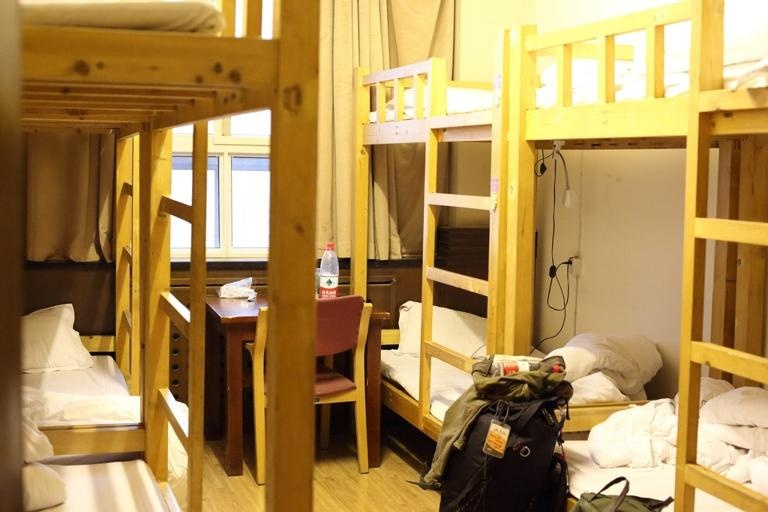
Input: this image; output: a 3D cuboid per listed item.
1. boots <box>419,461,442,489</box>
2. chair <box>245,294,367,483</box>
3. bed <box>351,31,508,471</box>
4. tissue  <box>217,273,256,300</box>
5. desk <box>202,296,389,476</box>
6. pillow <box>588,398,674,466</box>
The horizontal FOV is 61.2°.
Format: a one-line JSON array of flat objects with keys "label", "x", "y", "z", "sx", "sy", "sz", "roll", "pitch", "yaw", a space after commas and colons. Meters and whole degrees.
[{"label": "boots", "x": 0.200, "y": 0.999, "z": 2.883, "sx": 0.048, "sy": 0.151, "sz": 0.106, "roll": 0, "pitch": -9, "yaw": 14}, {"label": "chair", "x": -0.461, "y": 0.697, "z": 3.624, "sx": 0.696, "sy": 0.982, "sz": 0.721, "roll": -2, "pitch": 6, "yaw": -34}, {"label": "bed", "x": 0.197, "y": -0.100, "z": 3.505, "sx": 0.477, "sy": 1.998, "sz": 1.405, "roll": -2, "pitch": 7, "yaw": -15}, {"label": "tissue ", "x": -0.845, "y": 0.185, "z": 3.731, "sx": 0.145, "sy": 0.060, "sz": 0.143, "roll": -4, "pitch": 25, "yaw": -9}, {"label": "desk", "x": -0.549, "y": 0.641, "z": 3.787, "sx": 0.951, "sy": 0.935, "sz": 0.969, "roll": 1, "pitch": -1, "yaw": -15}, {"label": "pillow", "x": 1.076, "y": 0.782, "z": 2.791, "sx": 0.282, "sy": 0.092, "sz": 0.233, "roll": -11, "pitch": 43, "yaw": 13}]
